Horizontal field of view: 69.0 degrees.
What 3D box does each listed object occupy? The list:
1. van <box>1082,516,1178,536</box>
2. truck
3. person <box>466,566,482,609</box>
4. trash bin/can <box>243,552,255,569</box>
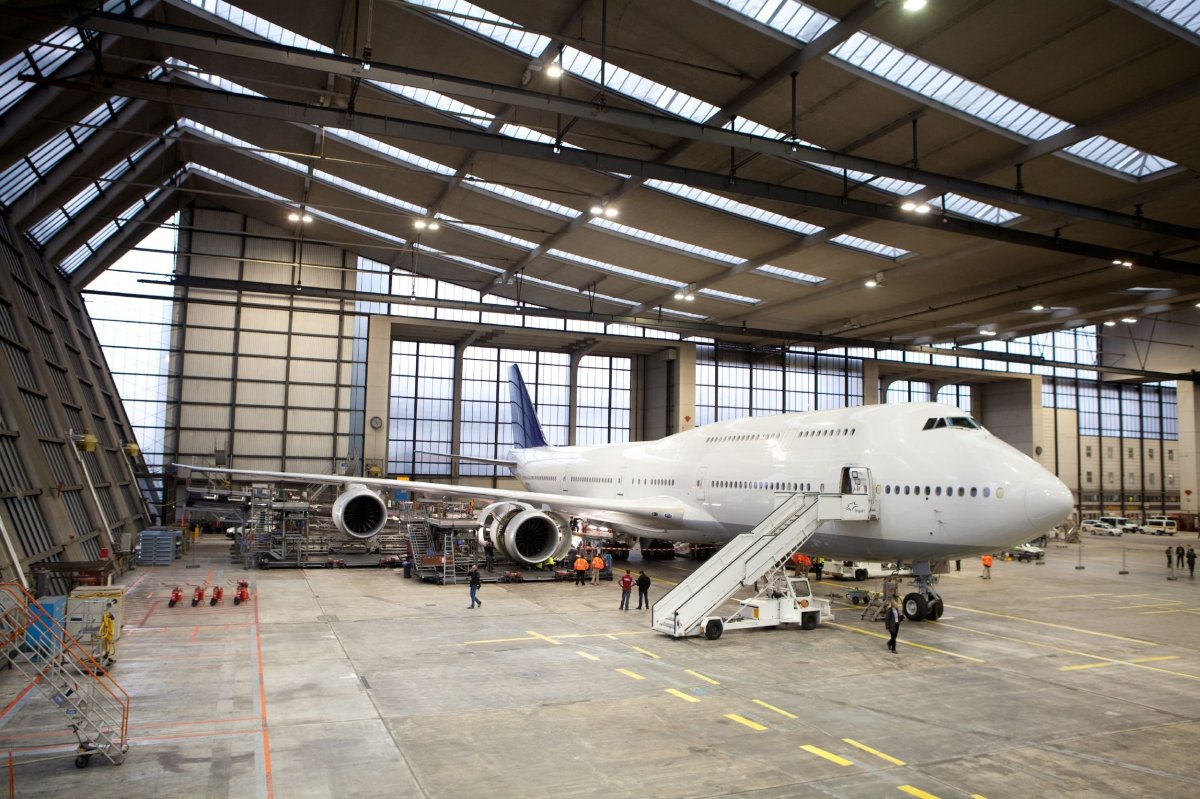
[{"bbox_3d":[42.892,10.192,70.333,7.772,1.286,3.511,2,-6,-23],"label":"van"},{"bbox_3d":[5.400,6.763,30.376,5.918,1.943,4.962,1,-5,-16],"label":"truck"},{"bbox_3d":[-4.567,6.739,31.643,0.469,1.350,1.556,1,-6,-9],"label":"person"},{"bbox_3d":[-15.606,7.118,38.558,0.452,0.645,0.822,5,-9,-38],"label":"trash bin/can"}]
